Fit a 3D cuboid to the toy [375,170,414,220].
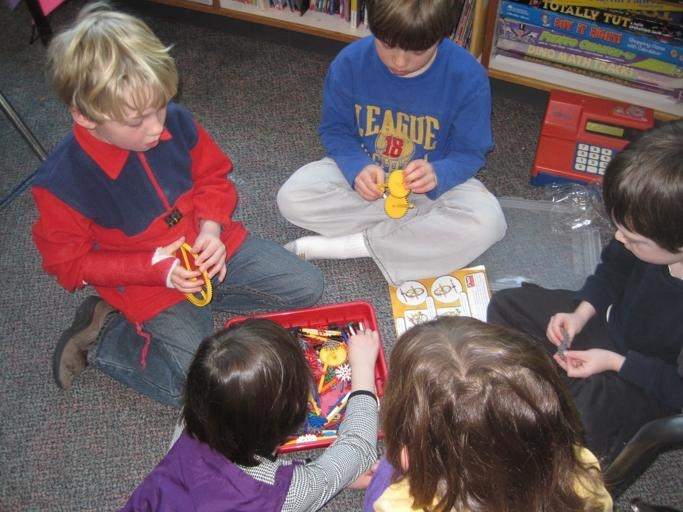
[{"bbox_3d":[0.184,-0.210,1.927,0.110,0.040,0.172,0,97,14],"label":"toy"}]
